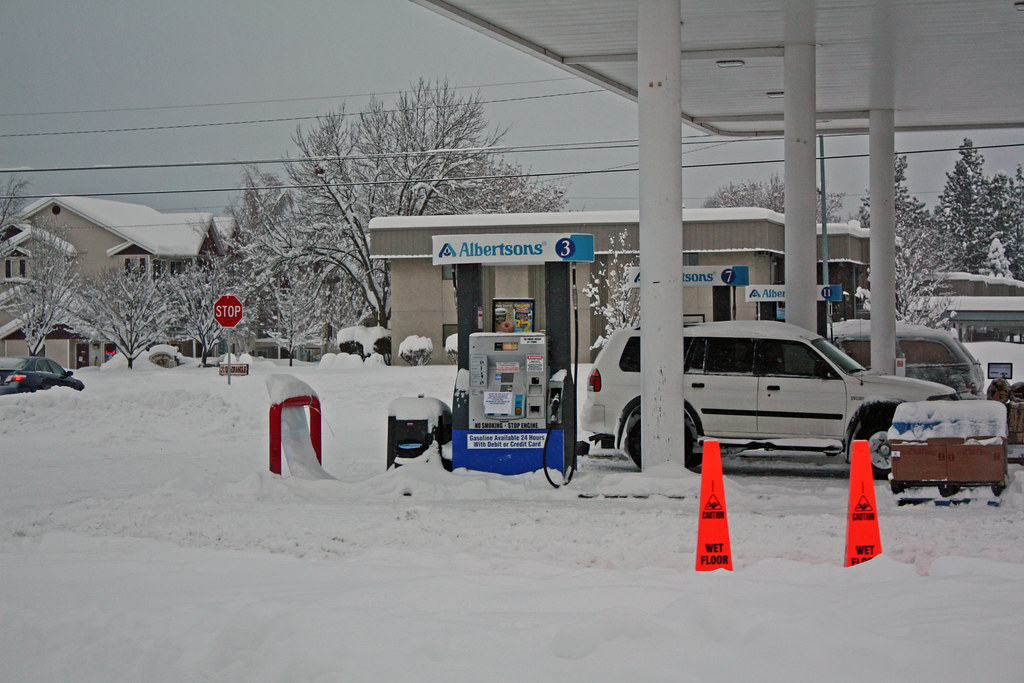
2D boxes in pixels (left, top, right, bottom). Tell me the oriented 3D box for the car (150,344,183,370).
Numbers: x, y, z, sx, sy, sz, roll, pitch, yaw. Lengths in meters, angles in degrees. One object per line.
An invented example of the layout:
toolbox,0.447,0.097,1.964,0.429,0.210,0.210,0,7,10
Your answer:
car,-16.211,0.660,43.725,1.502,1.009,2.577,1,1,-18

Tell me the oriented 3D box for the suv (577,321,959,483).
suv,3.852,0.884,16.236,5.380,2.492,2.740,-2,0,7
